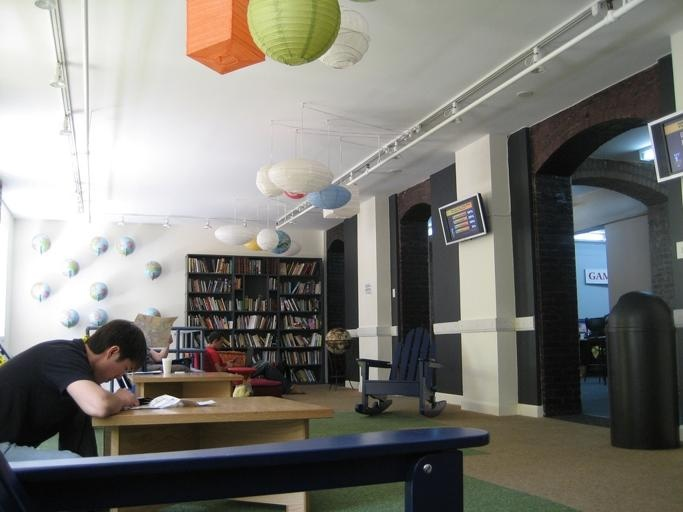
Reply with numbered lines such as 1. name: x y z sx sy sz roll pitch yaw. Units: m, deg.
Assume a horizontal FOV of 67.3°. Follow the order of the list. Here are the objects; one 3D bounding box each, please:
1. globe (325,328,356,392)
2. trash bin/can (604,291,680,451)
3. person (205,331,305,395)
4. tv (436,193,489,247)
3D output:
1. globe: -0.070 1.937 9.913 0.594 1.131 0.582 -6 -3 23
2. trash bin/can: 2.501 0.950 4.279 0.496 1.288 0.338 -1 -14 30
3. person: -1.477 1.750 8.233 2.071 1.151 1.029 2 -12 -6
4. tv: 1.667 -0.492 6.953 0.092 0.508 0.850 -11 -3 -21
